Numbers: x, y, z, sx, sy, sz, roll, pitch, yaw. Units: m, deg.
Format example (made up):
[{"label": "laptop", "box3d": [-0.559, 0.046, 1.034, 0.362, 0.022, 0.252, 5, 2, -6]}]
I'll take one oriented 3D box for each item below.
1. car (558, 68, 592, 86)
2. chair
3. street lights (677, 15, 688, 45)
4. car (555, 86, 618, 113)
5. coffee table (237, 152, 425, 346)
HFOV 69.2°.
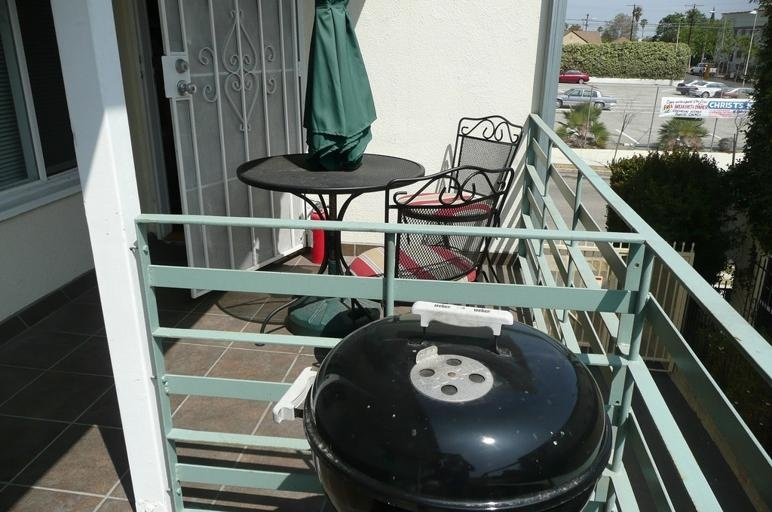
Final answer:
[{"label": "car", "box3d": [14.710, -13.905, 43.708, 2.486, 1.005, 1.353, 0, 24, -8]}, {"label": "chair", "box3d": [0.384, -0.358, 3.560, 0.697, 1.078, 0.645, -8, 19, -43]}, {"label": "street lights", "box3d": [23.018, -17.590, 43.575, 0.879, 1.787, 0.929, 13, 25, 23]}, {"label": "car", "box3d": [14.356, -11.116, 40.161, 6.074, 1.234, 1.972, -18, 31, -40]}, {"label": "coffee table", "box3d": [-0.340, -0.011, 3.815, 1.105, 1.008, 1.101, 4, 10, 37]}]
